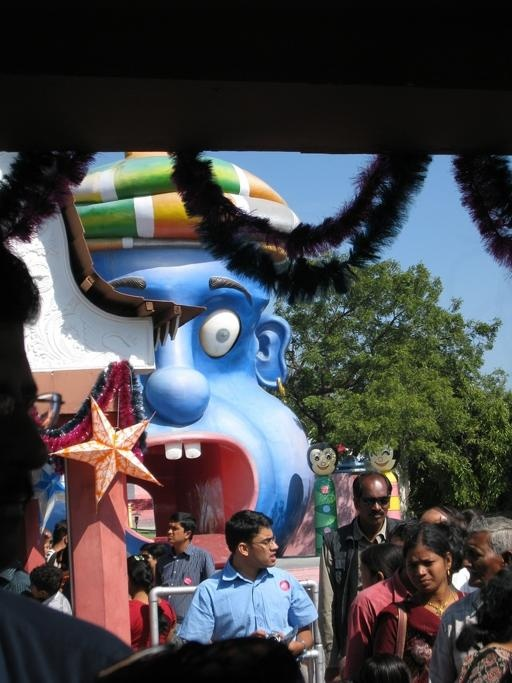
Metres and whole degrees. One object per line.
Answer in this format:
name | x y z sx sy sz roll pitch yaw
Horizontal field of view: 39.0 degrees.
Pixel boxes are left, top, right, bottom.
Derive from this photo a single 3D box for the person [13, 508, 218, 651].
person | -0.944 1.595 4.896 0.876 0.964 1.092 8 -26 -17
